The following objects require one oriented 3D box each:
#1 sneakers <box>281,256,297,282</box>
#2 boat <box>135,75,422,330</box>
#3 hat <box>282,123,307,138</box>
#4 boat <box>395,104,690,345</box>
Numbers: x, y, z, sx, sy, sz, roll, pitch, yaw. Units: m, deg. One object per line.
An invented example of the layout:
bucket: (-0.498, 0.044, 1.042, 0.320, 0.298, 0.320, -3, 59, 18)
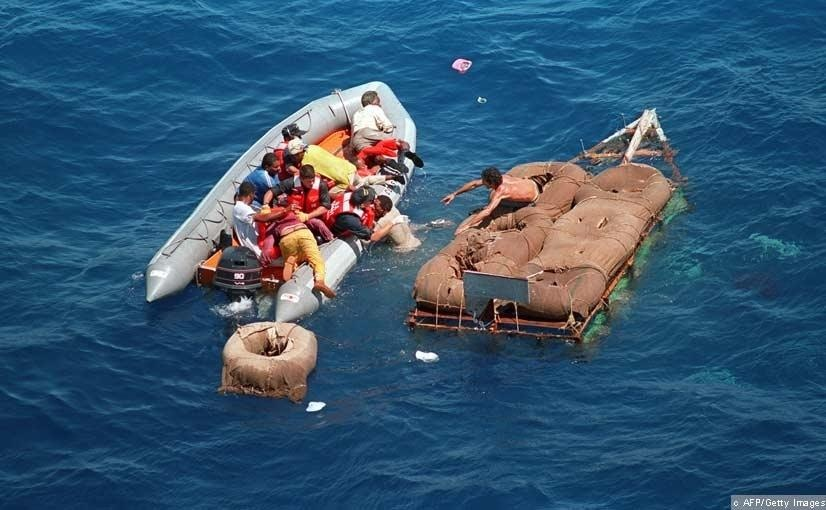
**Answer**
sneakers: (-2.261, 0.262, 20.747, 0.247, 0.443, 0.227, 14, -9, 31)
boat: (-2.657, -0.989, 23.169, 3.453, 1.001, 6.470, 29, 49, 20)
hat: (-2.415, -2.432, 22.559, 0.668, 0.188, 0.361, 2, 22, -3)
boat: (2.747, -0.344, 21.134, 3.223, 0.911, 4.937, 12, 35, 30)
